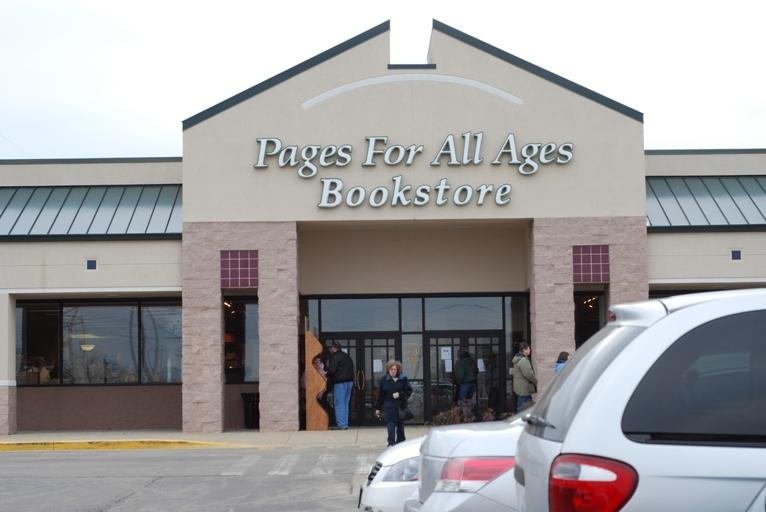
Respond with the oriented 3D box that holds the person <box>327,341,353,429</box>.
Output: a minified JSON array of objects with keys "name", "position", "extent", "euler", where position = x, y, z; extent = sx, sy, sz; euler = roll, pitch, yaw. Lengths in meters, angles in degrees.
[{"name":"person","position":[-1.207,3.635,27.870],"extent":[0.734,2.444,0.923],"euler":[-1,-10,-2]}]

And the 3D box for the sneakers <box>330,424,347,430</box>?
[{"name":"sneakers","position":[-1.257,4.801,27.649],"extent":[0.463,0.182,0.169],"euler":[-1,-7,3]}]

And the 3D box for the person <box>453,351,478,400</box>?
[{"name":"person","position":[2.403,3.480,28.696],"extent":[0.689,1.521,0.960],"euler":[-2,-10,4]}]
